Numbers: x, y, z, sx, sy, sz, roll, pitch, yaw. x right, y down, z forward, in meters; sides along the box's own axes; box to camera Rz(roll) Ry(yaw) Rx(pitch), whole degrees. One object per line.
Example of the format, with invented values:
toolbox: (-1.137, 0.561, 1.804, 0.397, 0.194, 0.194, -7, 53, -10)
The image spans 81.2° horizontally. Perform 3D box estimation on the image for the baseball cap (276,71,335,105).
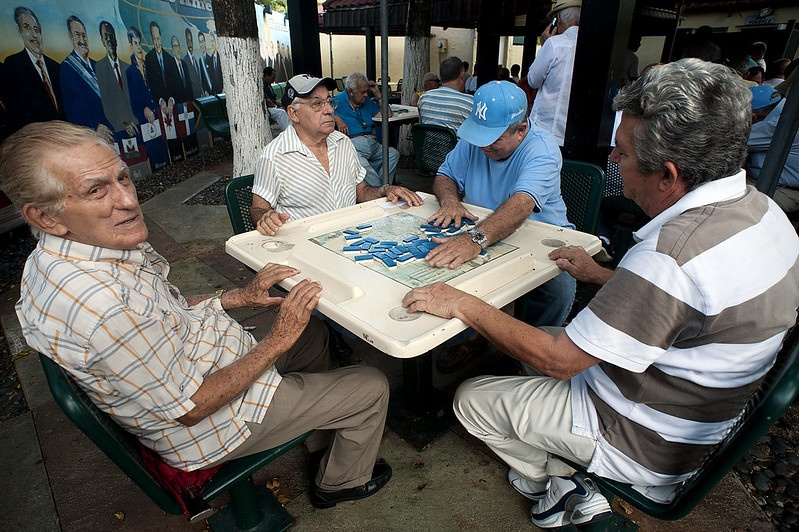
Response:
baseball cap: (-0.644, -1.089, 3.054, 0.353, 0.123, 0.216, -16, 19, 28)

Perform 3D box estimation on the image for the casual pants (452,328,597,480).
casual pants: (0.511, 0.688, 2.249, 0.462, 0.266, 0.795, -47, 25, -22)

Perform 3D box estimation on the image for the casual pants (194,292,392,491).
casual pants: (-0.501, 0.598, 2.155, 0.663, 0.879, 0.486, -20, 47, -25)

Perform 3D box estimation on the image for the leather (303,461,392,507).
leather: (-0.253, 1.149, 2.479, 0.454, 0.183, 0.173, -15, 28, -30)

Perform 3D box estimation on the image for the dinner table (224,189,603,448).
dinner table: (0.007, 0.535, 2.855, 1.596, 1.093, 1.607, 26, 41, 36)

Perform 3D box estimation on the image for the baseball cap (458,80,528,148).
baseball cap: (0.546, -0.959, 2.793, 0.488, 0.199, 0.311, -41, 56, -12)

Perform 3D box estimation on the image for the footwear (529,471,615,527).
footwear: (0.759, 1.083, 2.234, 0.172, 0.221, 0.434, -22, -7, -34)
